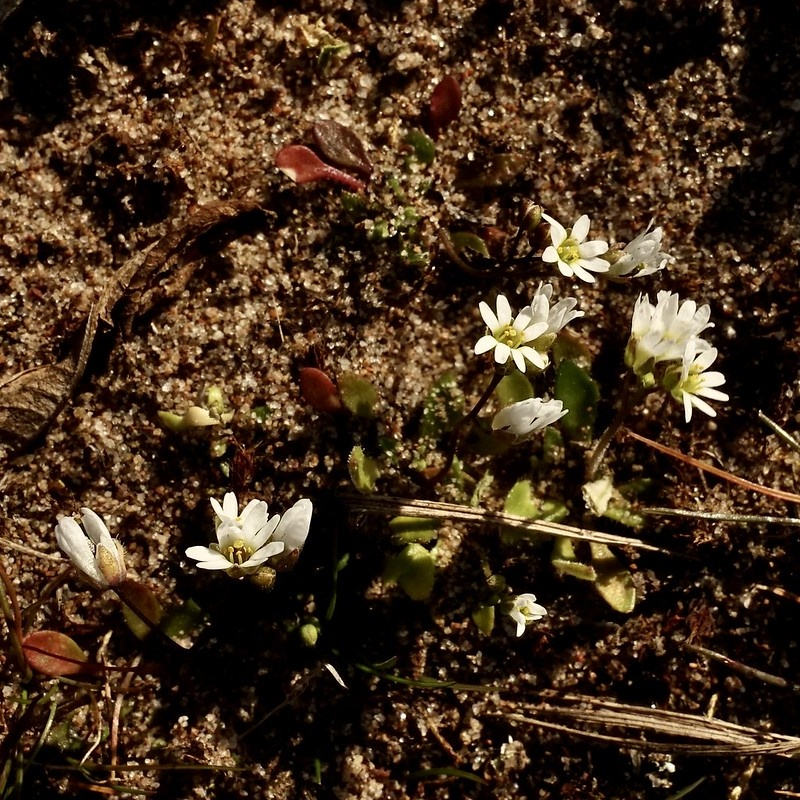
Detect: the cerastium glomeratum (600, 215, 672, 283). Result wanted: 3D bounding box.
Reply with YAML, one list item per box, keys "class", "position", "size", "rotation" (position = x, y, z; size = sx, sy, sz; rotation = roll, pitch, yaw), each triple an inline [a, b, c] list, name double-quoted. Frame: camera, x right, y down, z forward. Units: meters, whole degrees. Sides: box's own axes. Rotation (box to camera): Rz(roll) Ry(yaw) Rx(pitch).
- class: "cerastium glomeratum"
  position: [0.529, -0.329, 2.311]
  size: [0.066, 0.126, 0.140]
  rotation: [28, 65, -33]

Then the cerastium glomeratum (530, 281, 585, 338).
- class: "cerastium glomeratum"
  position: [0.324, -0.194, 2.224]
  size: [0.112, 0.059, 0.112]
  rotation: [-21, 83, -5]

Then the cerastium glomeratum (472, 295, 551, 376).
- class: "cerastium glomeratum"
  position: [0.226, -0.132, 2.186]
  size: [0.144, 0.078, 0.173]
  rotation: [22, 85, 0]

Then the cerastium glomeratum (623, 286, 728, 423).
- class: "cerastium glomeratum"
  position: [0.582, -0.091, 2.249]
  size: [0.246, 0.114, 0.261]
  rotation: [18, 77, -17]
